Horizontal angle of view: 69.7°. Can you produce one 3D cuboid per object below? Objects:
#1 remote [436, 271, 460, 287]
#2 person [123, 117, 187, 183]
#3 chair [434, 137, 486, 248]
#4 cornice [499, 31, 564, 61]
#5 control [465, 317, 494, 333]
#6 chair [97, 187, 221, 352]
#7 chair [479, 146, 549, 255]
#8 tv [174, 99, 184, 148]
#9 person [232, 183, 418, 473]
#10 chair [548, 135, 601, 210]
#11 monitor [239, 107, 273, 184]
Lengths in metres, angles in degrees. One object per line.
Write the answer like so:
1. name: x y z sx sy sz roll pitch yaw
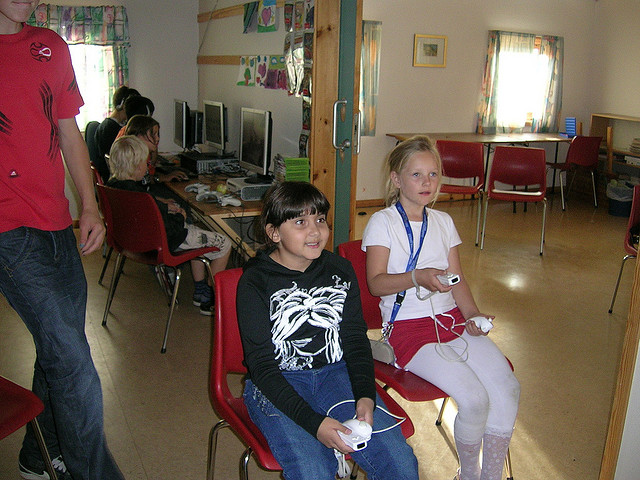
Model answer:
1. remote: 0.466 0.137 1.650 0.036 0.028 0.067 -19 15 -12
2. person: -1.396 -0.846 4.015 0.503 0.197 0.728 -8 40 -24
3. chair: 1.495 -0.528 5.019 0.692 1.118 0.778 2 8 -3
4. cornice: 3.350 -3.093 7.286 1.336 0.355 0.081 -4 14 -23
5. control: 0.629 0.320 1.827 0.100 0.047 0.108 8 15 21
6. chair: -1.124 0.108 3.292 0.674 1.044 0.796 6 14 8
7. chair: 2.084 -0.467 4.902 0.747 1.119 0.809 3 7 -1
8. tv: -1.530 -1.309 5.073 0.067 0.492 0.628 -3 17 -25
9. person: -0.021 0.269 1.510 0.472 0.862 0.641 -3 14 -19
10. chair: 3.669 -1.048 6.793 0.656 1.054 0.742 -12 19 -31
11. monitor: -0.519 -0.766 3.641 0.076 0.538 0.518 -7 23 -28
